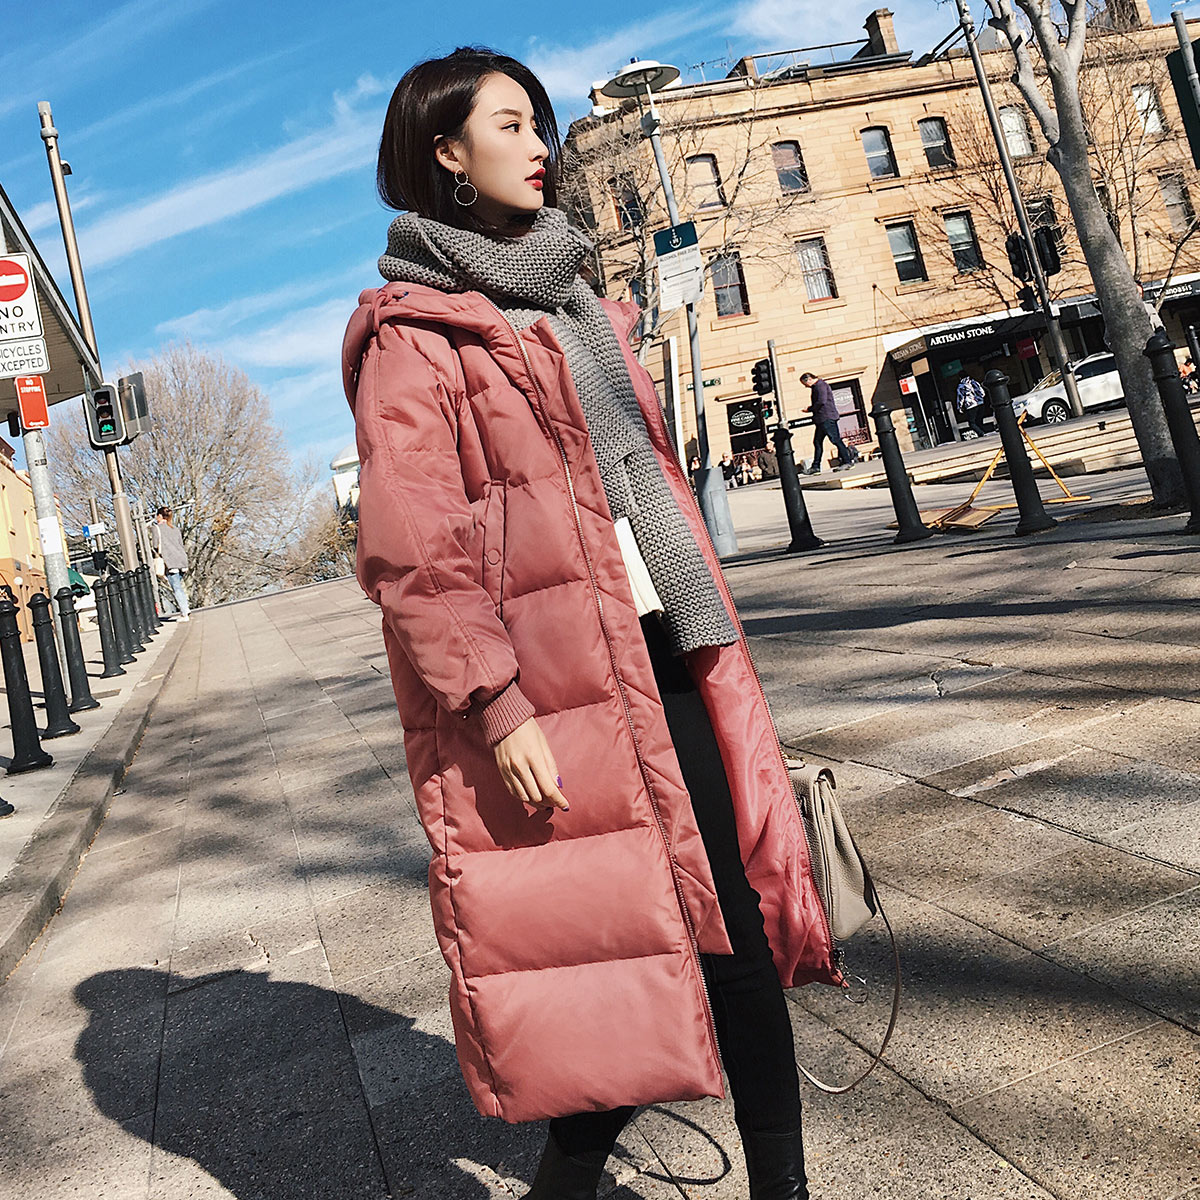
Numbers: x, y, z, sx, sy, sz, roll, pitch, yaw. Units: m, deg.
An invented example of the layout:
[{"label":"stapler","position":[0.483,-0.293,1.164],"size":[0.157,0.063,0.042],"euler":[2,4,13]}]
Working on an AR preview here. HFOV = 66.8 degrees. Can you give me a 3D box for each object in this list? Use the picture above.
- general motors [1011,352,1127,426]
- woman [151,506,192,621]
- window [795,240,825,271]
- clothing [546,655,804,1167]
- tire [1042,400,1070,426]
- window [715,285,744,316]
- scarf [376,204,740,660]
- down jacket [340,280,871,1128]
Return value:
[{"label":"general motors","position":[13.772,-6.099,26.430],"size":[3.162,1.319,0.847],"euler":[-12,3,-12]},{"label":"woman","position":[-10.584,-0.896,22.144],"size":[0.918,2.647,0.797],"euler":[-8,3,-4]},{"label":"window","position":[7.448,-12.207,32.384],"size":[1.108,1.168,0.128],"euler":[-10,2,-2]},{"label":"clothing","position":[0.140,0.459,1.302],"size":[0.260,0.902,0.028],"euler":[-15,2,33]},{"label":"tire","position":[13.209,-5.428,26.185],"size":[0.802,0.464,0.320],"euler":[-12,3,-9]},{"label":"window","position":[4.629,-10.348,32.114],"size":[1.112,1.056,1.032],"euler":[-2,2,0]},{"label":"scarf","position":[-0.141,-0.296,1.712],"size":[0.586,0.885,0.554],"euler":[1,28,6]},{"label":"down jacket","position":[-0.124,0.117,1.347],"size":[0.443,1.150,0.305],"euler":[-12,4,7]}]
